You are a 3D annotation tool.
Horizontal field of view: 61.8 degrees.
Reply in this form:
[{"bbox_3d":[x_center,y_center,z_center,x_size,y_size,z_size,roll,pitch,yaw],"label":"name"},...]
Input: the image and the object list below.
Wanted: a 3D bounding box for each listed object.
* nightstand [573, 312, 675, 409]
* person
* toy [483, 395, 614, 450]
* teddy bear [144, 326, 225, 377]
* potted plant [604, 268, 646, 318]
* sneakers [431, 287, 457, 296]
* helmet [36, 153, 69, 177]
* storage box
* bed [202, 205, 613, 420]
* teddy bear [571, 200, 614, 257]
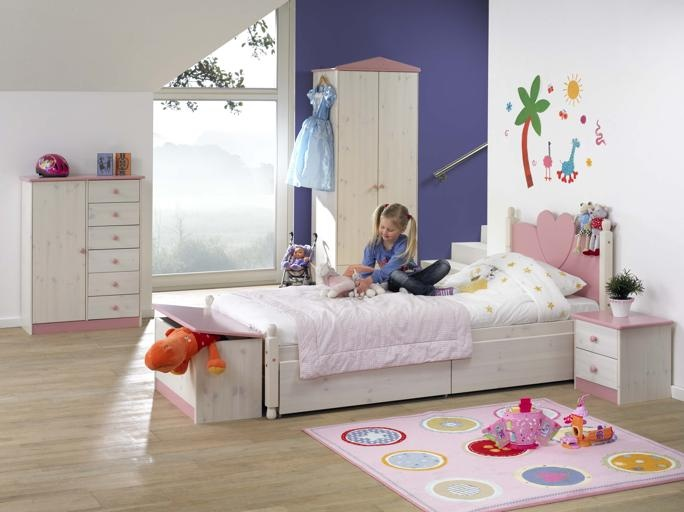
[{"bbox_3d":[1.740,0.612,3.467,0.436,0.443,0.503,-2,0,-18],"label":"nightstand"},{"bbox_3d":[0.371,-0.025,3.788,0.746,0.616,0.466,-4,7,21],"label":"person"},{"bbox_3d":[1.030,0.827,2.783,0.466,0.168,0.308,-3,0,-3],"label":"toy"},{"bbox_3d":[-0.818,0.477,2.871,0.290,0.111,0.287,-8,16,-40],"label":"teddy bear"},{"bbox_3d":[1.701,0.251,3.400,0.192,0.208,0.198,7,-12,-42],"label":"potted plant"},{"bbox_3d":[0.694,0.219,3.765,0.167,0.067,0.056,-8,11,-15],"label":"sneakers"},{"bbox_3d":[-2.401,-0.746,4.694,0.246,0.186,0.185,-2,7,-1],"label":"helmet"},{"bbox_3d":[-0.733,0.463,3.135,0.431,0.441,0.739,-1,6,-20],"label":"storage box"},{"bbox_3d":[0.543,0.211,3.729,1.995,1.053,1.110,-5,7,-23],"label":"bed"},{"bbox_3d":[1.676,-0.172,3.693,0.127,0.411,0.360,2,3,-17],"label":"teddy bear"}]
